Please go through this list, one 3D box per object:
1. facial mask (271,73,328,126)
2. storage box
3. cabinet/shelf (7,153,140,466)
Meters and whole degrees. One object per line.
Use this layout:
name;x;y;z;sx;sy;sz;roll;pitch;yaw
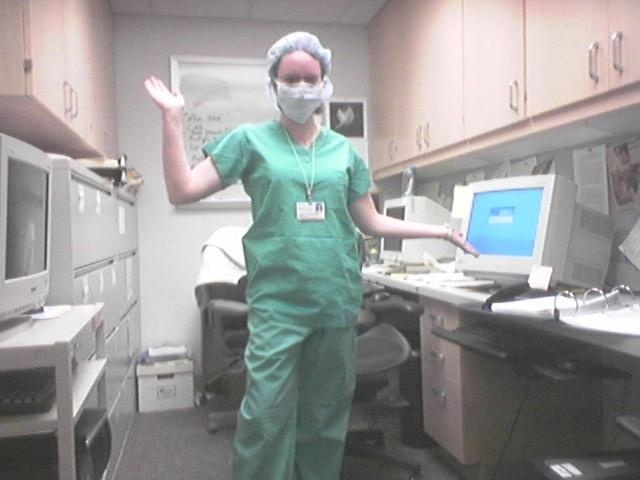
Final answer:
facial mask;-0.070;-0.499;1.851;0.145;0.180;0.120;2;6;-21
storage box;-0.922;0.901;3.355;0.360;0.343;0.482;-1;0;-6
cabinet/shelf;-0.876;0.178;2.557;0.498;1.613;1.127;-1;-1;-11
